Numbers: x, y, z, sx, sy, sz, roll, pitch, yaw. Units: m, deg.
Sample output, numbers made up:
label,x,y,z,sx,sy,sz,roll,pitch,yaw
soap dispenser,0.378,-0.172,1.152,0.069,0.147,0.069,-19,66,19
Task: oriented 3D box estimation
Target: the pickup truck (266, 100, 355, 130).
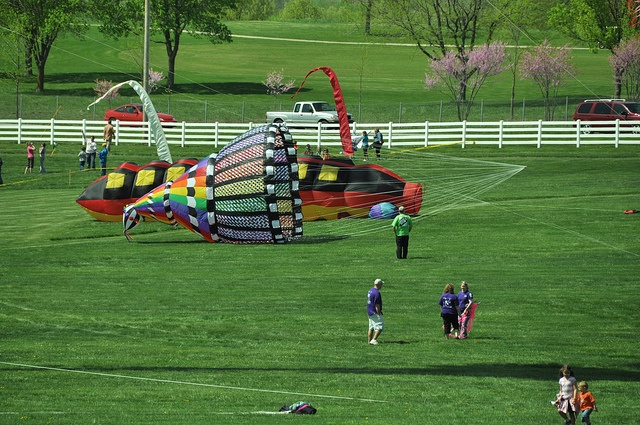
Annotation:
label,x,y,z,sx,sy,sz,roll,pitch,yaw
pickup truck,-1.569,-9.042,147.705,6.771,2.322,3.283,1,5,21
